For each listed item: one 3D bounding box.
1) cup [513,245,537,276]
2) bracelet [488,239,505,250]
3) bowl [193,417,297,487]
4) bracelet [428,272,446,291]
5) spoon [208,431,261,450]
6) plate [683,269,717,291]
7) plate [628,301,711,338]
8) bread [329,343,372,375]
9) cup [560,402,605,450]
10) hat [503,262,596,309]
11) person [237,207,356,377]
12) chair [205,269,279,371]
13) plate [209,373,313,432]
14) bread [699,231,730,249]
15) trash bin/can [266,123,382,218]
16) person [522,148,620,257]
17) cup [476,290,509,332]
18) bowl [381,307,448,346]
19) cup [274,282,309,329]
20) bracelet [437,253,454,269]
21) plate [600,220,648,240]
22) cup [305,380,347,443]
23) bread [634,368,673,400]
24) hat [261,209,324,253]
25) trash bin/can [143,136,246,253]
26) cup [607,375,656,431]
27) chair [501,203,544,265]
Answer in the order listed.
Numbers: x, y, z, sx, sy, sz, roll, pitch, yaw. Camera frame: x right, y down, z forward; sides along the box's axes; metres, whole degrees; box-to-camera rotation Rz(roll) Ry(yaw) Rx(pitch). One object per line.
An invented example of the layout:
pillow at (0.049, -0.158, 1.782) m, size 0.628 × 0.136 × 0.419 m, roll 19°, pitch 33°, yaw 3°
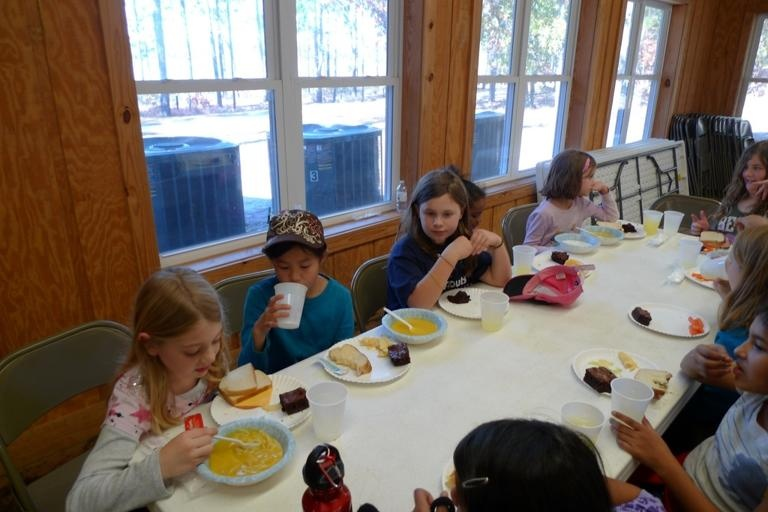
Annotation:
cup at (0.719, 0.010, 2.754) m, size 0.142 × 0.152 × 0.145 m, roll 2°, pitch 23°, yaw -1°
bracelet at (0.581, -0.049, 2.652) m, size 0.067 × 0.020 × 0.063 m, roll -29°, pitch 1°, yaw -44°
bowl at (-0.443, 0.639, 1.702) m, size 0.275 × 0.091 × 0.227 m, roll 7°, pitch 24°, yaw 19°
bracelet at (0.258, 0.119, 2.464) m, size 0.064 × 0.058 × 0.076 m, roll 0°, pitch 14°, yaw -10°
spoon at (-0.488, 0.621, 1.730) m, size 0.184 × 0.052 × 0.053 m, roll 11°, pitch 33°, yaw -9°
plate at (1.662, 0.118, 2.709) m, size 0.080 × 0.019 × 0.106 m, roll -25°, pitch 40°, yaw -26°
plate at (1.307, 0.297, 2.347) m, size 0.186 × 0.015 × 0.190 m, roll 7°, pitch 26°, yaw 14°
bread at (-0.133, 0.403, 2.044) m, size 0.175 × 0.049 × 0.093 m, roll 22°, pitch 37°, yaw 38°
cup at (0.676, 0.555, 1.802) m, size 0.144 × 0.119 × 0.155 m, roll -2°, pitch 32°, yaw 1°
hat at (0.792, 0.135, 2.476) m, size 0.333 × 0.135 × 0.195 m, roll -13°, pitch 37°, yaw 1°
person at (-0.374, 0.267, 2.315) m, size 0.526 × 0.900 × 0.498 m, roll -4°, pitch 6°, yaw -6°
chair at (-0.594, 0.271, 2.195) m, size 0.281 × 0.515 × 0.335 m, roll -12°, pitch 45°, yaw -25°
plate at (-0.450, 0.482, 1.874) m, size 0.317 × 0.036 × 0.314 m, roll 5°, pitch 10°, yaw -37°
bread at (2.021, -0.101, 3.159) m, size 0.128 × 0.064 × 0.159 m, roll -4°, pitch 18°, yaw -11°
trash bin/can at (-0.313, -0.618, 3.771) m, size 0.611 × 0.547 × 0.330 m, roll -10°, pitch 18°, yaw -26°
person at (1.257, -0.324, 3.670) m, size 0.713 × 0.868 × 0.454 m, roll -12°, pitch 26°, yaw -18°
cup at (0.493, 0.255, 2.315) m, size 0.200 × 0.154 × 0.204 m, roll 1°, pitch -1°, yaw 0°
bowl at (0.139, 0.296, 2.243) m, size 0.193 × 0.071 × 0.169 m, roll 2°, pitch 31°, yaw 2°
cup at (-0.352, 0.199, 2.042) m, size 0.163 × 0.178 × 0.162 m, roll 2°, pitch -13°, yaw 0°
bracelet at (0.299, 0.022, 2.450) m, size 0.016 × 0.068 × 0.065 m, roll -47°, pitch 34°, yaw 2°
plate at (1.594, -0.182, 3.382) m, size 0.185 × 0.027 × 0.185 m, roll -13°, pitch 30°, yaw -21°
cup at (-0.189, 0.546, 1.858) m, size 0.201 × 0.207 × 0.196 m, roll 2°, pitch -15°, yaw 1°
bread at (1.050, 0.486, 1.987) m, size 0.109 × 0.033 × 0.118 m, roll 3°, pitch 30°, yaw 29°
hat at (-0.405, -0.116, 2.301) m, size 0.281 × 0.191 × 0.376 m, roll -7°, pitch -2°, yaw 9°
trash bin/can at (-1.145, -0.414, 3.291) m, size 0.513 × 0.591 × 0.523 m, roll 11°, pitch 18°, yaw 40°
cup at (0.883, 0.512, 1.859) m, size 0.148 × 0.126 × 0.161 m, roll 2°, pitch 21°, yaw -1°
chair at (0.881, -0.136, 3.250) m, size 0.266 × 0.365 × 0.237 m, roll -20°, pitch 32°, yaw -30°
